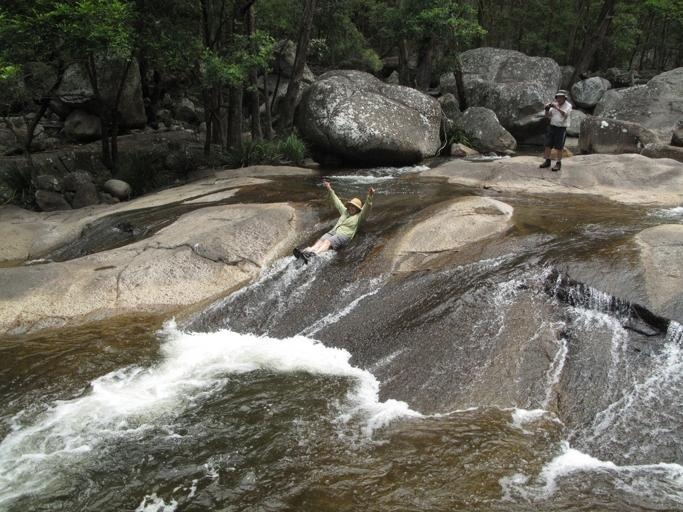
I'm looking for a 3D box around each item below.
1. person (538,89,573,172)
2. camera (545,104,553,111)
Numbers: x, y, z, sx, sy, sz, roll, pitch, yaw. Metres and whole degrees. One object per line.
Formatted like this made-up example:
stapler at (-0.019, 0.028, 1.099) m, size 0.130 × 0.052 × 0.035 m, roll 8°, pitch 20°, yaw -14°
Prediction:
person at (5.104, -2.998, 12.257) m, size 0.551 × 1.869 × 0.735 m, roll 7°, pitch 19°, yaw 19°
camera at (4.871, -3.532, 12.020) m, size 0.158 × 0.170 × 0.342 m, roll 6°, pitch 17°, yaw 18°
